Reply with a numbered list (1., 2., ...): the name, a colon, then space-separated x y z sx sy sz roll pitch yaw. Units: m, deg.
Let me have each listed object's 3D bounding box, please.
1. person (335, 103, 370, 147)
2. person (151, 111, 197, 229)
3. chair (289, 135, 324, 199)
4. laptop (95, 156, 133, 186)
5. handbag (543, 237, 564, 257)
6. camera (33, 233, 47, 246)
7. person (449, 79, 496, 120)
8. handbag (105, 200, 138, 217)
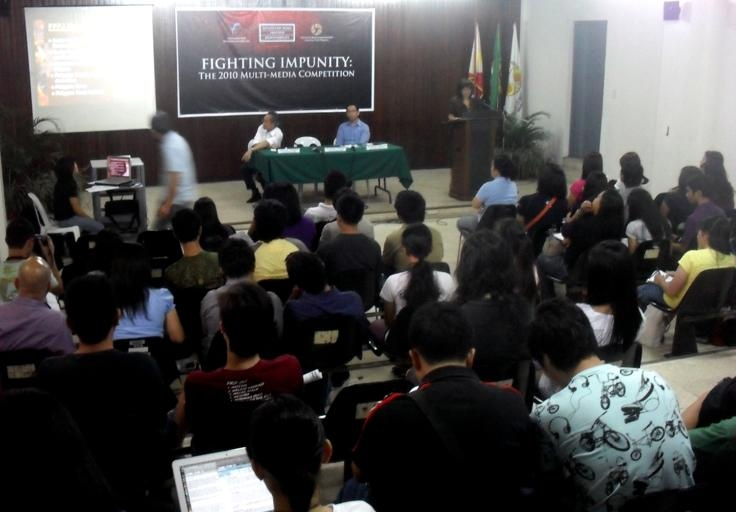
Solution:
1. person: -0.258 -2.297 10.042 0.704 1.085 0.771 0 17 0
2. person: -2.094 -0.892 6.104 0.489 1.213 0.596 -8 13 -20
3. chair: -1.056 -1.745 9.868 0.463 0.687 0.485 -5 20 -14
4. laptop: -3.247 -1.102 7.491 0.465 0.490 0.405 1 2 13
5. handbag: 1.845 -0.084 5.713 0.185 0.318 0.166 2 -3 29
6. camera: -2.514 -0.123 4.401 0.055 0.084 0.079 3 23 -10
7. person: 1.826 -2.847 10.409 0.706 0.644 1.963 -1 14 9
8. handbag: -3.155 -0.616 7.341 0.413 0.189 0.087 -4 12 0
